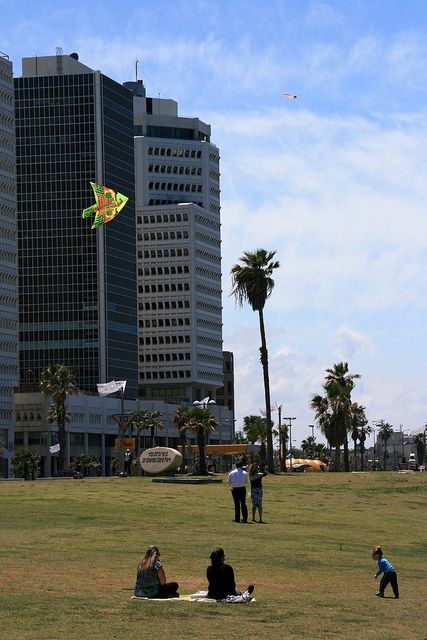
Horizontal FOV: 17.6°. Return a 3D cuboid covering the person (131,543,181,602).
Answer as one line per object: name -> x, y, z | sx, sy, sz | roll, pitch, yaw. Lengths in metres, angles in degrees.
person -> -1.046, 4.578, 24.876 | 0.787, 0.966, 0.988 | -1, -7, -3

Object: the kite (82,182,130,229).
kite -> -12.612, -12.287, 150.626 | 4.652, 6.307, 1.506 | -16, 30, -33

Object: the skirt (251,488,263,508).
skirt -> 1.216, 5.013, 38.747 | 0.277, 0.531, 0.914 | -1, -8, -2

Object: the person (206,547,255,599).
person -> 0.150, 4.678, 25.571 | 0.659, 1.146, 0.959 | 0, 0, 29
